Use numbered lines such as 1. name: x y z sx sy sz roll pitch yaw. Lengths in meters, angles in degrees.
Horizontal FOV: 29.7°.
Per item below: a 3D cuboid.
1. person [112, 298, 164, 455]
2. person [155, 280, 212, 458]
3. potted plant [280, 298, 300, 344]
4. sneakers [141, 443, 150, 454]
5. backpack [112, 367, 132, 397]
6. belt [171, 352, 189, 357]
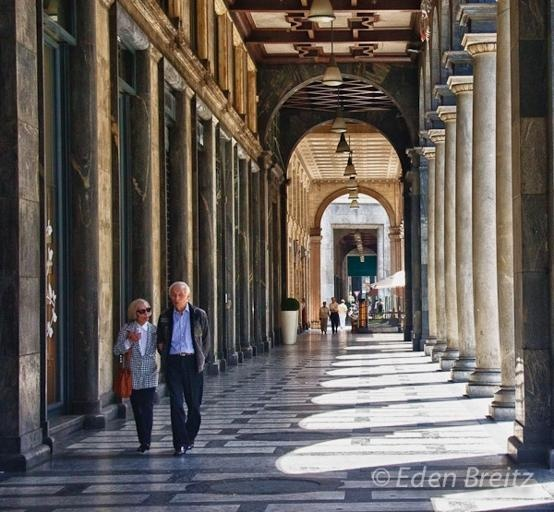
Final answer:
1. person: -1.460 1.269 10.883 0.446 1.590 0.273 -2 -4 -11
2. person: -0.966 1.180 10.872 0.536 1.763 0.380 -1 -4 -22
3. potted plant: 0.384 1.967 30.868 0.538 1.440 1.278 -3 -5 0
4. sneakers: -1.352 2.008 10.788 0.063 0.099 0.182 -5 -5 18
5. backpack: -1.603 1.333 10.832 0.175 0.306 0.239 -2 -5 -13
6. belt: -1.005 1.038 10.820 0.190 0.044 0.049 -4 -5 -10
